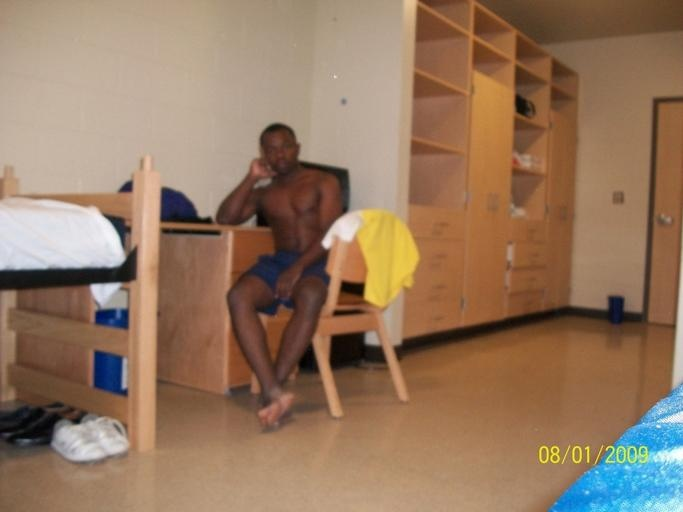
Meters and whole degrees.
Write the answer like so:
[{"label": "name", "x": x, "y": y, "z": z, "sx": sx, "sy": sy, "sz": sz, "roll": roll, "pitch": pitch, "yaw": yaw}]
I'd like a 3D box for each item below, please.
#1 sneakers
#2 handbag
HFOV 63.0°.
[{"label": "sneakers", "x": -0.898, "y": 0.615, "z": 1.955, "sx": 0.195, "sy": 0.070, "sz": 0.139, "roll": 4, "pitch": 1, "yaw": 39}, {"label": "handbag", "x": -0.796, "y": -0.246, "z": 2.509, "sx": 0.324, "sy": 0.101, "sz": 0.306, "roll": 19, "pitch": -4, "yaw": -19}]
